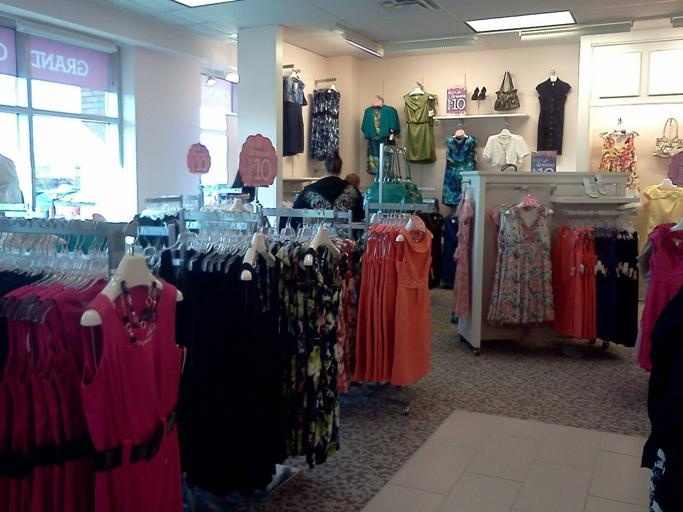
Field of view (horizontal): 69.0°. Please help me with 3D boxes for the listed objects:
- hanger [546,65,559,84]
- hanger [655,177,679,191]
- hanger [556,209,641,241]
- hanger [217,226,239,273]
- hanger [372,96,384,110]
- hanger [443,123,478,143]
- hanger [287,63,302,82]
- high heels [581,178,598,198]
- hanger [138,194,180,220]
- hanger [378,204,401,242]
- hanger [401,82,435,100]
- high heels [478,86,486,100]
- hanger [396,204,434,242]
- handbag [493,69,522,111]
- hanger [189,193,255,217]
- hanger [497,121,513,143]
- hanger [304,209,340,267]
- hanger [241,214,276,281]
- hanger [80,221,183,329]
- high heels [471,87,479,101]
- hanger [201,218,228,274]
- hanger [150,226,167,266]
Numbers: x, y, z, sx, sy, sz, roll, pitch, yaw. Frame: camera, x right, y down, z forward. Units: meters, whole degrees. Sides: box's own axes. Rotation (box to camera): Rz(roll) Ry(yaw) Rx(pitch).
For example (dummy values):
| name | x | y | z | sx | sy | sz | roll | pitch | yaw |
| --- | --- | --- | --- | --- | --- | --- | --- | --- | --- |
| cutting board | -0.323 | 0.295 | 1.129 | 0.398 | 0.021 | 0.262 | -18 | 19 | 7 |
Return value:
| name | x | y | z | sx | sy | sz | roll | pitch | yaw |
| --- | --- | --- | --- | --- | --- | --- | --- | --- | --- |
| hanger | 3.232 | -2.779 | 7.554 | 0.147 | 0.274 | 0.151 | 4 | 8 | 25 |
| hanger | 4.396 | -0.982 | 6.707 | 0.241 | 0.150 | 0.299 | 6 | 10 | 34 |
| hanger | 2.357 | -0.333 | 4.664 | 0.691 | 0.206 | 0.320 | 3 | 9 | 17 |
| hanger | -0.522 | -0.025 | 2.295 | 0.096 | 0.168 | 0.256 | -1 | 8 | -10 |
| hanger | 0.638 | -2.624 | 8.472 | 0.169 | 0.146 | 0.299 | -1 | 42 | 4 |
| hanger | 1.963 | -2.009 | 8.068 | 0.352 | 0.406 | 0.146 | 0 | -4 | 12 |
| hanger | -0.715 | -2.827 | 7.598 | 0.246 | 0.132 | 0.339 | -5 | 10 | -22 |
| high heels | 2.361 | -0.647 | 4.683 | 0.137 | 0.180 | 0.074 | -1 | 7 | -6 |
| hanger | -1.491 | -0.418 | 4.085 | 0.295 | 0.160 | 1.195 | -3 | 9 | -21 |
| hanger | 0.375 | -0.246 | 3.637 | 0.058 | 0.246 | 0.237 | -10 | -3 | 2 |
| hanger | 1.308 | -2.770 | 8.269 | 0.384 | 0.174 | 0.030 | 2 | -2 | 31 |
| high heels | 2.239 | -2.582 | 7.870 | 0.105 | 0.192 | 0.068 | 8 | 38 | 3 |
| hanger | 0.547 | -0.254 | 3.742 | 0.378 | 0.365 | 0.103 | -4 | 4 | -35 |
| handbag | 2.594 | -2.593 | 7.753 | 0.373 | 0.622 | 0.305 | 3 | 8 | 22 |
| hanger | -0.834 | -0.358 | 3.452 | 0.455 | 0.155 | 0.331 | 0 | 3 | 38 |
| hanger | 2.561 | -1.941 | 7.796 | 0.246 | 0.384 | 0.324 | 2 | 8 | 17 |
| hanger | -0.107 | -0.100 | 2.798 | 0.061 | 0.169 | 0.324 | 2 | 8 | 22 |
| hanger | -0.374 | 0.010 | 2.228 | 0.142 | 0.204 | 0.337 | -1 | 8 | -6 |
| hanger | -0.724 | 0.110 | 1.681 | 0.130 | 0.237 | 0.404 | 3 | 9 | 24 |
| high heels | 2.149 | -2.618 | 7.949 | 0.124 | 0.205 | 0.207 | 2 | 8 | 16 |
| hanger | -0.594 | -0.056 | 2.354 | 0.049 | 0.234 | 0.226 | -1 | 1 | 8 |
| hanger | -0.943 | -0.051 | 2.571 | 0.095 | 0.199 | 0.080 | -4 | -12 | -8 |
